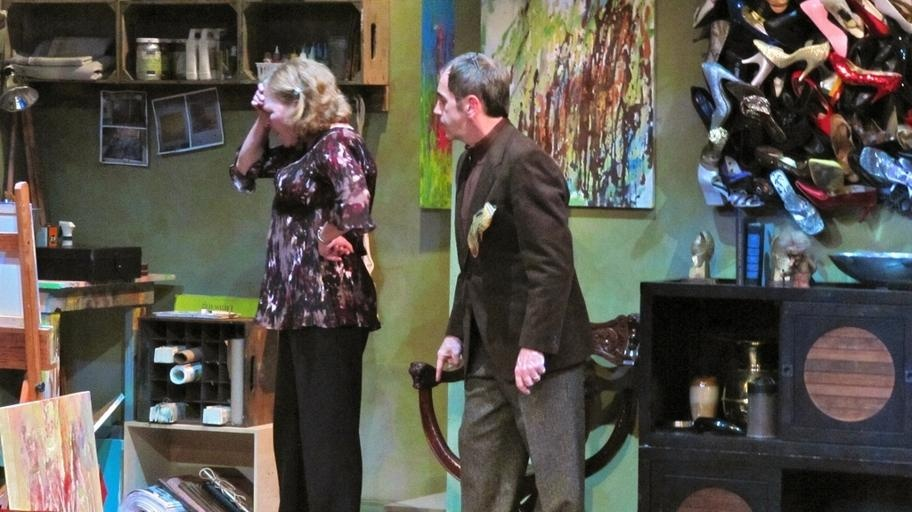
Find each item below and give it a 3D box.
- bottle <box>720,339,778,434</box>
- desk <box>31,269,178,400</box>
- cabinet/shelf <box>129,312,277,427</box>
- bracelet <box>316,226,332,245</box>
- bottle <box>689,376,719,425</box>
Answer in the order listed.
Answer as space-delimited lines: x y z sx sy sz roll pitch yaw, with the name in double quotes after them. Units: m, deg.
1.580 0.681 5.274 0.398 0.516 0.391 0 1 0 "bottle"
-2.355 0.533 6.314 0.956 0.805 0.950 -3 1 38 "desk"
-1.585 0.727 6.130 0.726 0.556 0.383 0 -3 6 "cabinet/shelf"
-0.695 -0.117 5.118 0.076 0.092 0.036 6 2 33 "bracelet"
1.369 0.786 5.385 0.162 0.264 0.168 -1 -2 0 "bottle"
